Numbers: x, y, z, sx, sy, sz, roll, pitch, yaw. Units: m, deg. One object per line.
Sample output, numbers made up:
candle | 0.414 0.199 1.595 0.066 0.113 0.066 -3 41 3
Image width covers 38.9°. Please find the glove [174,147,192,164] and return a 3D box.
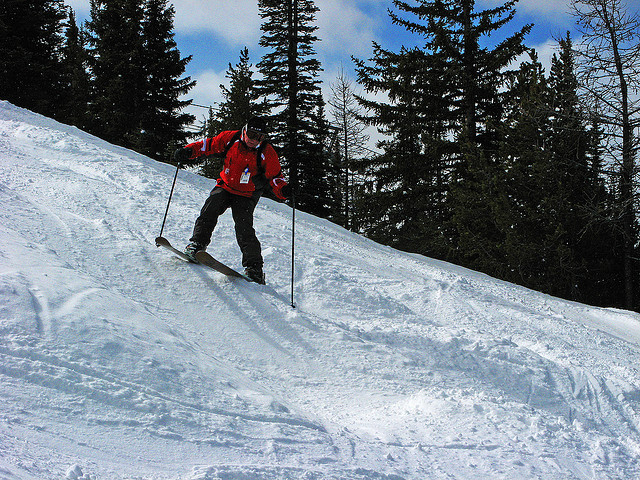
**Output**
glove | -2.820 -1.750 18.970 0.272 0.090 0.336 8 -43 -13
